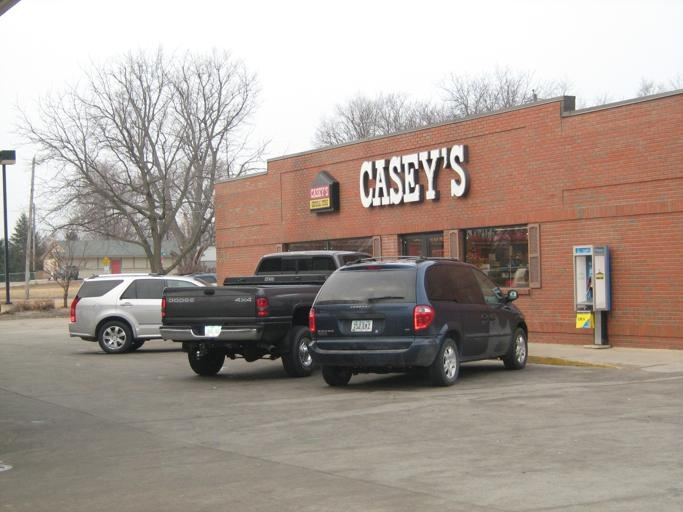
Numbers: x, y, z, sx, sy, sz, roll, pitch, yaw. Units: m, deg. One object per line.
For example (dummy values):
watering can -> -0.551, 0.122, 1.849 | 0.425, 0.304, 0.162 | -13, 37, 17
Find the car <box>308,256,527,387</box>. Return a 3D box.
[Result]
car -> 1.568, 1.192, 11.363 | 4.080, 2.358, 1.711 | 2, -5, -33

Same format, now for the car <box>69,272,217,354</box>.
car -> -5.954, 1.628, 18.493 | 4.143, 1.777, 2.072 | -3, 0, -7

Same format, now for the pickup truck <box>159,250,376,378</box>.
pickup truck -> -1.187, 1.067, 13.475 | 2.541, 1.861, 4.758 | -2, 1, 35
